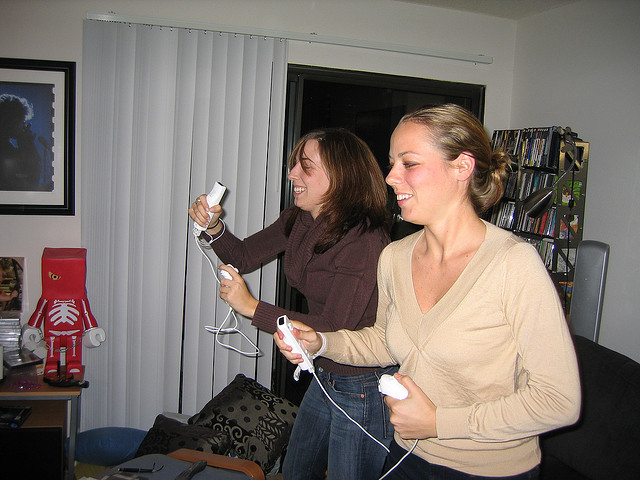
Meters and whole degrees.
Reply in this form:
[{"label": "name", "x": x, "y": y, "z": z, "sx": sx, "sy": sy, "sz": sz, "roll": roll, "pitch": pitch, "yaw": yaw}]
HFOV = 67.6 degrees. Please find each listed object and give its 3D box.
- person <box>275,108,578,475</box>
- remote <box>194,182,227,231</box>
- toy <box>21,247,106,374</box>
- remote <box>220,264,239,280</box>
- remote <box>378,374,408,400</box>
[{"label": "person", "x": 0.371, "y": 0.200, "z": 2.250, "sx": 1.031, "sy": 2.089, "sz": 1.062, "roll": 2, "pitch": -1, "yaw": -3}, {"label": "remote", "x": -0.529, "y": -0.136, "z": 2.214, "sx": 0.084, "sy": 0.297, "sz": 0.077, "roll": 33, "pitch": 28, "yaw": 13}, {"label": "toy", "x": -1.465, "y": 0.429, "z": 2.749, "sx": 0.403, "sy": 0.654, "sz": 0.136, "roll": 2, "pitch": 6, "yaw": 2}, {"label": "remote", "x": -0.349, "y": 0.124, "z": 1.832, "sx": 0.057, "sy": 0.040, "sz": 0.019, "roll": 51, "pitch": 18, "yaw": 10}, {"label": "remote", "x": 0.216, "y": 0.434, "z": 1.420, "sx": 0.080, "sy": 0.048, "sz": 0.024, "roll": 35, "pitch": 11, "yaw": 22}]
